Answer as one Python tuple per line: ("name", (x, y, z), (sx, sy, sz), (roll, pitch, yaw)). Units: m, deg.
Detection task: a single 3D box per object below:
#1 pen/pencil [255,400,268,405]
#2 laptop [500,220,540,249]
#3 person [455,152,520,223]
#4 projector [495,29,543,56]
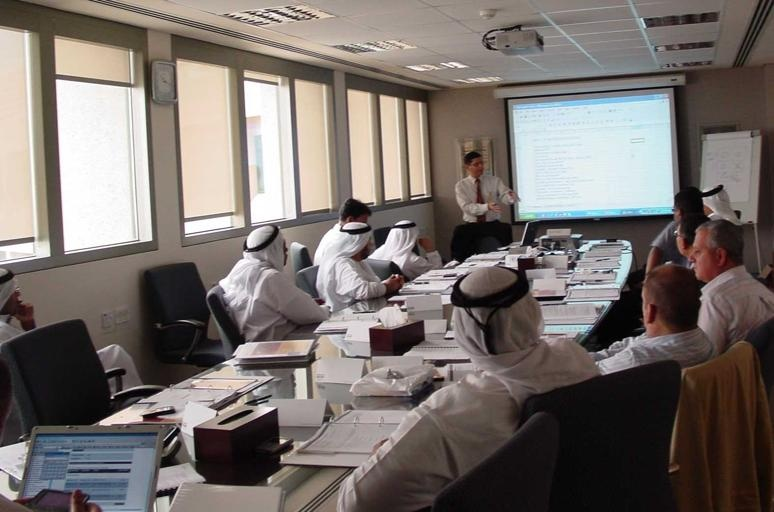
("pen/pencil", (-0.564, 0.659, 2.535), (0.031, 0.006, 0.030), (2, 6, 15))
("laptop", (1.513, -0.257, 6.494), (0.452, 0.323, 0.576), (0, 2, 24))
("person", (1.474, -1.047, 8.475), (0.835, 1.059, 1.278), (-4, 9, 7))
("projector", (1.409, -2.273, 5.924), (0.397, 0.215, 0.521), (-1, 10, 23))
